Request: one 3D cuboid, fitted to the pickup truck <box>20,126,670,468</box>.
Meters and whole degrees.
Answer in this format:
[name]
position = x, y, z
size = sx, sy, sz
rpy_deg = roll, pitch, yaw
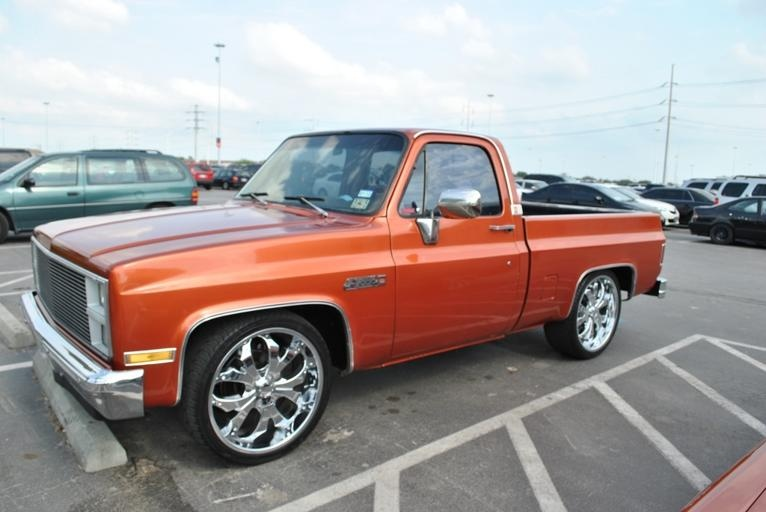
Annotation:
[pickup truck]
position = 0.047, 0.150, 4.717
size = 5.305, 1.600, 2.805
rpy_deg = -2, 4, -29
